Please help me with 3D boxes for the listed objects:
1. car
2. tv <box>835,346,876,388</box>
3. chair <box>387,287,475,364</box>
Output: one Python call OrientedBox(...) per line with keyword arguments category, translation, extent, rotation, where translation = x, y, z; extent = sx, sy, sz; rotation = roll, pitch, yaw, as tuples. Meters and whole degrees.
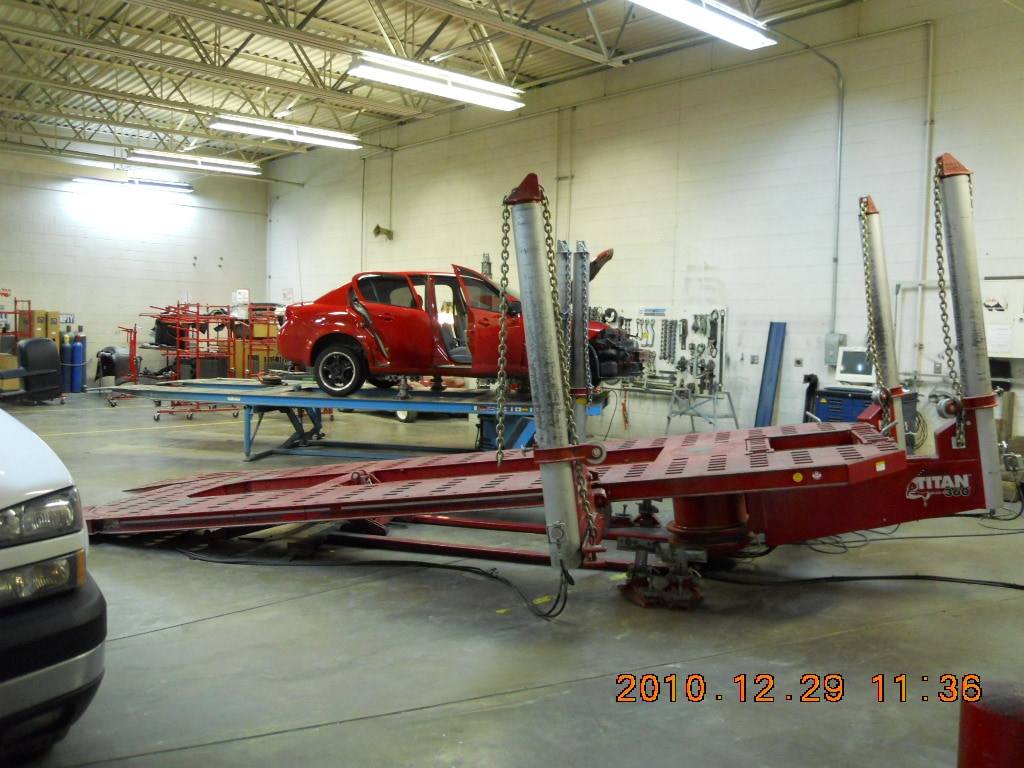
OrientedBox(category="car", translation=(-1.049, -0.615, 9.225), extent=(4.261, 1.539, 0.981), rotation=(4, 11, 30))
OrientedBox(category="tv", translation=(4.216, -0.180, 9.506), extent=(0.410, 0.484, 0.715), rotation=(2, 9, 20))
OrientedBox(category="chair", translation=(-0.793, -0.692, 9.561), extent=(1.244, 0.759, 0.738), rotation=(-2, 5, 0))
